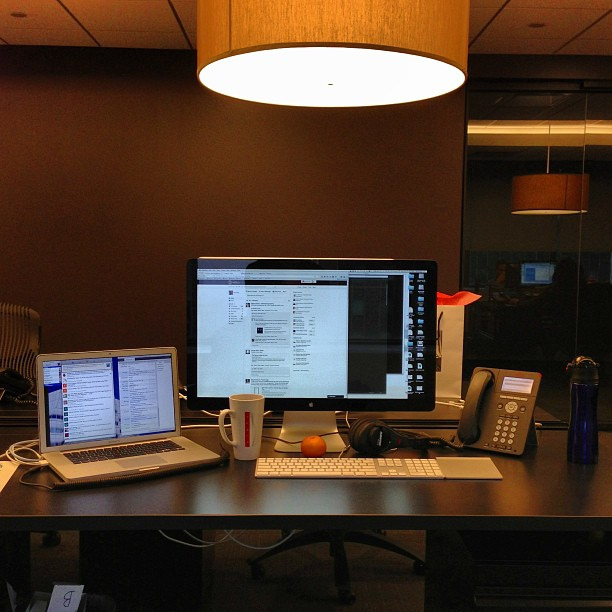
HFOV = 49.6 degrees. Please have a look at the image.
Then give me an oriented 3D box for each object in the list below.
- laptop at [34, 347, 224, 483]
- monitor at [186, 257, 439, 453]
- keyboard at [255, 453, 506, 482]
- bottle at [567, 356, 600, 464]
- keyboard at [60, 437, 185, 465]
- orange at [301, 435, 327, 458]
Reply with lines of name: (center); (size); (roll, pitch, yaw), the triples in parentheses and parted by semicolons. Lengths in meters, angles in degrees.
laptop: (-0.428, 0.259, 1.620); (0.399, 0.226, 0.287); (-1, 8, -32)
monitor: (0.013, 0.078, 1.788); (0.675, 0.405, 0.105); (1, 14, -1)
keyboard: (0.176, 0.391, 1.639); (0.599, 0.025, 0.171); (1, 12, -2)
bottle: (0.708, 0.260, 1.683); (0.099, 0.261, 0.139); (7, 15, 21)
keyboard: (-0.458, 0.363, 1.660); (0.275, 0.008, 0.095); (-4, 13, -26)
orange: (0.019, 0.358, 1.673); (0.059, 0.044, 0.053); (-1, -11, 0)
